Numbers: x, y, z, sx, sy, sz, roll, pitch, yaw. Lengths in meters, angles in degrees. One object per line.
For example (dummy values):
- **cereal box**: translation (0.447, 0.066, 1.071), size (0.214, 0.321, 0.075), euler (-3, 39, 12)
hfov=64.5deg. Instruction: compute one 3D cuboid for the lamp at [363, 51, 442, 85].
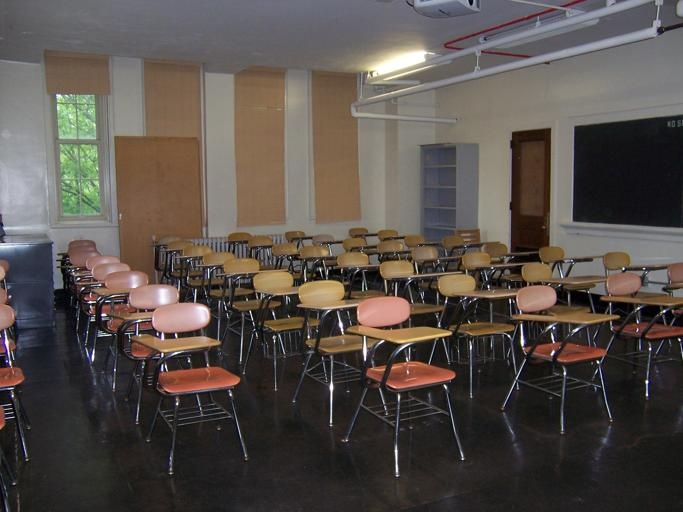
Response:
- **lamp**: translation (1.017, -3.347, 9.547), size (0.597, 0.148, 1.207), euler (-3, -6, -41)
